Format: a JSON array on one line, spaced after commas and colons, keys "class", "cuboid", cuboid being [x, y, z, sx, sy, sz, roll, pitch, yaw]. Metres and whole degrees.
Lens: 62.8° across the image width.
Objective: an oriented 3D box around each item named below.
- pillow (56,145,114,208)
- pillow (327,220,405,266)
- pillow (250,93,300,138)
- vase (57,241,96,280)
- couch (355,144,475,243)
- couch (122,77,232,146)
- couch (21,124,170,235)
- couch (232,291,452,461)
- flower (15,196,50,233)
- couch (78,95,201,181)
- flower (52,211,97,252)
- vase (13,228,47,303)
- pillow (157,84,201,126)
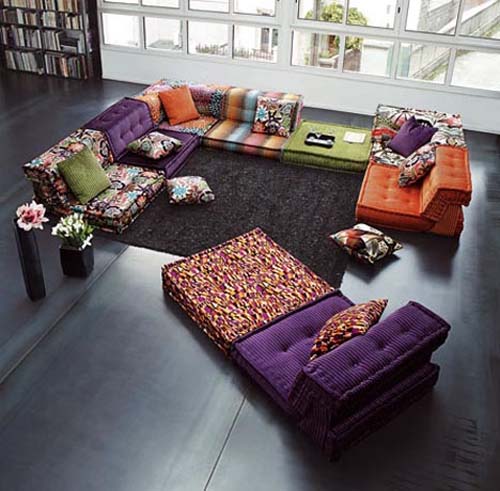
[{"class": "pillow", "cuboid": [-1.770, -0.714, 4.366, 0.184, 0.541, 0.613, -18, 18, 41]}, {"class": "pillow", "cuboid": [1.139, -0.045, 4.128, 0.559, 0.159, 0.596, -19, 43, -20]}, {"class": "pillow", "cuboid": [0.397, -1.941, 5.891, 0.723, 0.598, 0.223, 12, -8, 8]}, {"class": "vase", "cuboid": [-1.583, 0.144, 3.777, 0.312, 0.274, 0.305, -2, 3, 32]}, {"class": "couch", "cuboid": [1.851, -0.638, 4.633, 1.144, 0.712, 0.990, 11, 30, 12]}, {"class": "couch", "cuboid": [-1.055, -1.913, 6.359, 1.200, 0.451, 1.098, 18, 53, 12]}, {"class": "couch", "cuboid": [-1.590, -0.660, 4.532, 1.457, 0.759, 1.377, 23, 48, 19]}, {"class": "couch", "cuboid": [0.489, 0.773, 2.726, 1.048, 0.640, 1.019, -29, 50, -24]}, {"class": "flower", "cuboid": [-1.726, -0.219, 3.216, 0.233, 0.094, 0.251, -16, 16, 2]}, {"class": "couch", "cuboid": [-1.475, -1.482, 5.299, 1.374, 0.711, 1.231, 21, 48, 15]}, {"class": "flower", "cuboid": [-1.535, -0.122, 3.606, 0.315, 0.259, 0.292, -5, 16, -4]}, {"class": "vase", "cuboid": [-1.822, 0.133, 3.379, 0.162, 0.699, 0.204, -14, 37, -27]}, {"class": "pillow", "cuboid": [-1.046, -2.050, 5.958, 0.712, 0.570, 0.208, -24, 7, -27]}]
